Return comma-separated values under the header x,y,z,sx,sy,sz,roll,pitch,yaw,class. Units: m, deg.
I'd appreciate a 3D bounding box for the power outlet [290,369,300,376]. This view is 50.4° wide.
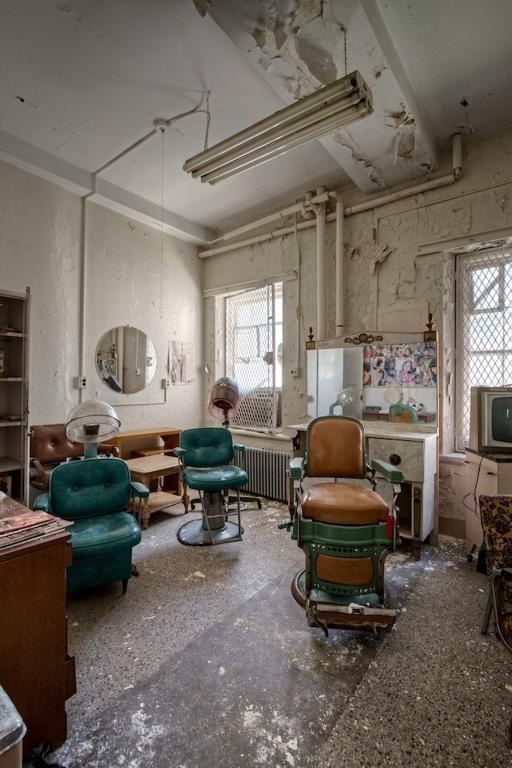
x,y,z,sx,sy,sz,roll,pitch,yaw,class
0.360,-0.096,5.036,0.090,0.092,0.049,-4,-7,45,power outlet

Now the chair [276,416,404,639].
x,y,z,sx,sy,sz,roll,pitch,yaw,class
0.441,0.725,2.911,0.622,0.984,0.779,1,8,15,chair

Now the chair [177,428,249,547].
x,y,z,sx,sy,sz,roll,pitch,yaw,class
-0.377,0.790,4.225,0.578,0.895,0.729,1,-6,-21,chair

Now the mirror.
x,y,z,sx,sy,sz,roll,pitch,yaw,class
-1.240,-0.218,5.067,0.065,0.703,0.621,-4,0,42,mirror

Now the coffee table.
x,y,z,sx,sy,sz,roll,pitch,yaw,class
-0.858,0.820,4.518,0.643,0.503,0.430,7,11,43,coffee table

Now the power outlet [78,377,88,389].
x,y,z,sx,sy,sz,roll,pitch,yaw,class
-1.492,-0.004,4.665,0.030,0.095,0.097,-2,-2,21,power outlet

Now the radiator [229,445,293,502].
x,y,z,sx,sy,sz,roll,pitch,yaw,class
0.062,0.820,4.928,0.070,0.452,0.628,1,-2,-42,radiator

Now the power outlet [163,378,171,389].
x,y,z,sx,sy,sz,roll,pitch,yaw,class
-0.918,0.003,5.554,0.032,0.098,0.102,-2,-2,23,power outlet
